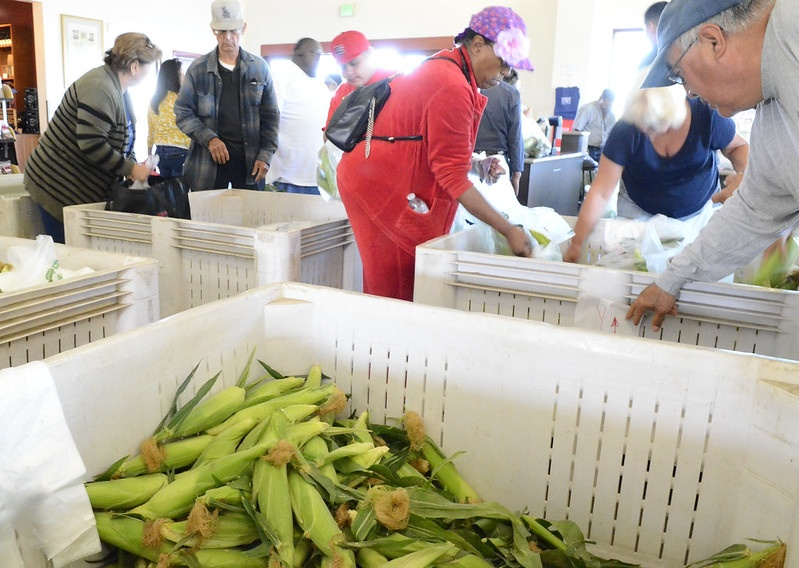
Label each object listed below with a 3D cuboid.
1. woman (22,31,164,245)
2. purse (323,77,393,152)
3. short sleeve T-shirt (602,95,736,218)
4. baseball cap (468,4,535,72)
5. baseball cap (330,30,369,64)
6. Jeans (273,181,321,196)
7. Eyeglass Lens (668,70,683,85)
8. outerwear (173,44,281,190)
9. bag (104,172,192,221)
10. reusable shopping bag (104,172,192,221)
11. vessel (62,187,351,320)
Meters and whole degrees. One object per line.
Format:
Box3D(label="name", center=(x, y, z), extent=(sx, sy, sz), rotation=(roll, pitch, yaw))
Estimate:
Box3D(label="woman", center=(-1.683, -0.614, 2.959), extent=(0.631, 1.459, 0.615), rotation=(-7, 29, -42))
Box3D(label="purse", center=(-0.166, -0.657, 2.117), extent=(0.121, 0.329, 0.233), rotation=(33, -4, -30))
Box3D(label="short sleeve T-shirt", center=(1.179, -0.557, 2.362), extent=(0.468, 0.494, 0.292), rotation=(0, 41, 32))
Box3D(label="baseball cap", center=(0.367, -0.877, 2.000), extent=(0.265, 0.158, 0.191), rotation=(32, 40, -5))
Box3D(label="baseball cap", center=(-0.289, -1.381, 3.167), extent=(0.153, 0.131, 0.223), rotation=(-6, 47, 25))
Box3D(label="Jeans", center=(-0.734, -0.673, 3.799), extent=(0.330, 0.087, 0.090), rotation=(3, 42, -7))
Box3D(label="Eyeglass Lens", center=(0.690, -0.526, 1.374), extent=(0.042, 0.017, 0.033), rotation=(5, -3, 26))
Box3D(label="outerwear", center=(-1.125, -1.056, 3.563), extent=(0.649, 0.890, 0.468), rotation=(-13, 43, -33))
Box3D(label="bag", center=(-1.124, -0.375, 2.520), extent=(0.214, 0.142, 0.294), rotation=(5, 5, -3))
Box3D(label="reusable shopping bag", center=(-1.118, -0.375, 2.520), extent=(0.214, 0.142, 0.294), rotation=(5, 5, -3))
Box3D(label="vessel", center=(-0.743, -0.116, 2.041), extent=(0.453, 0.312, 0.473), rotation=(15, 20, 23))
